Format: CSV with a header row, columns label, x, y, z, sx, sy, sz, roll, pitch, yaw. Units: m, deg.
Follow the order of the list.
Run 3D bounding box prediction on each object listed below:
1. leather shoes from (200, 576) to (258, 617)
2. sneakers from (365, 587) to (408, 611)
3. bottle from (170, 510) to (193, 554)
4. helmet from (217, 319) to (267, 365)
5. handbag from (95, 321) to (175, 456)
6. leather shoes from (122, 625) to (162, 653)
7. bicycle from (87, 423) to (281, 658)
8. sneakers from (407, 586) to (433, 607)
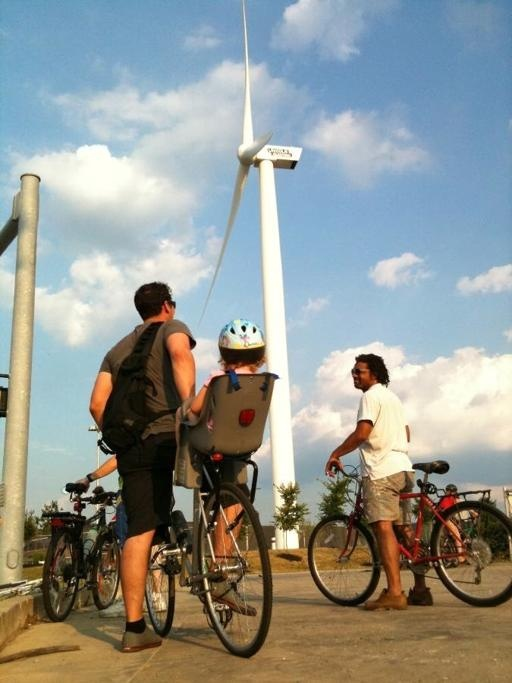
label,x,y,z,sx,sy,sz,roll,pitch,yaw
leather shoes,-0.108,1.226,3.121,0.077,0.161,0.338,3,-8,-35
sneakers,0.925,1.845,4.635,0.341,0.156,0.122,-1,-23,9
bottle,-0.396,1.059,3.591,0.090,0.090,0.268,16,23,-38
helmet,-0.097,-0.025,3.534,0.211,0.189,0.268,-1,15,-21
handbag,-0.641,0.254,3.648,0.407,0.680,0.327,5,5,-21
leather shoes,-0.565,1.491,3.285,0.088,0.080,0.198,-5,-10,34
bicycle,-0.687,1.087,3.463,0.868,1.016,1.723,7,-18,-29
sneakers,1.228,1.917,4.907,0.091,0.104,0.257,3,-9,-10
